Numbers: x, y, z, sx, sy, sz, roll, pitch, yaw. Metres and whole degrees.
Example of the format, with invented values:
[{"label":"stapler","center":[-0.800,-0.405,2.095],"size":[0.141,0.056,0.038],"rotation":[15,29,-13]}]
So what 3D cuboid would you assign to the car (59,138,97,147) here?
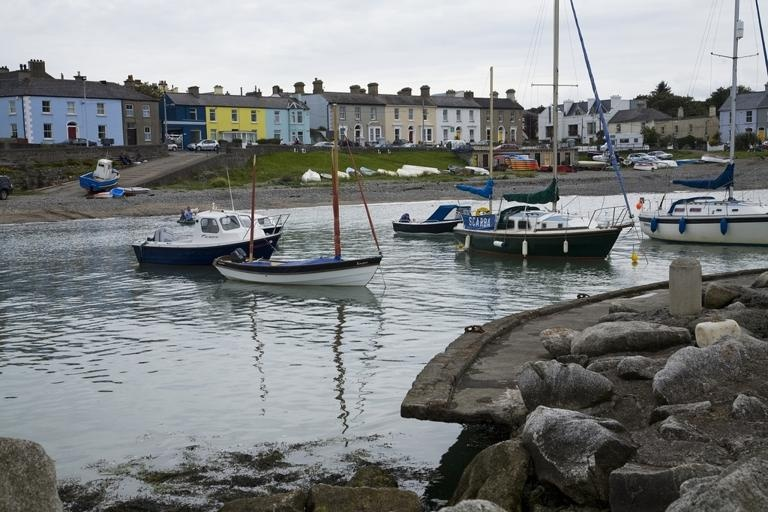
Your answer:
[{"label":"car","center":[-27.175,-10.003,80.620],"size":[2.507,0.701,1.686],"rotation":[-1,6,-6]}]

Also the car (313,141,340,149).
[{"label":"car","center":[-6.360,-11.770,97.502],"size":[1.781,0.744,7.412],"rotation":[-2,6,2]}]

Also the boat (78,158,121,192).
[{"label":"boat","center":[-19.739,-5.745,64.504],"size":[1.703,1.627,3.426],"rotation":[12,26,13]}]

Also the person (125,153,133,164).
[{"label":"person","center":[-21.701,-8.182,77.481],"size":[0.250,0.679,0.511],"rotation":[-18,-3,36]}]

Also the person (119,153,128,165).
[{"label":"person","center":[-22.016,-8.127,77.128],"size":[0.614,0.832,0.498],"rotation":[-3,7,-6]}]

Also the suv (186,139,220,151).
[{"label":"suv","center":[-17.558,-10.711,89.114],"size":[2.908,1.221,1.798],"rotation":[4,6,4]}]

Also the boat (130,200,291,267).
[{"label":"boat","center":[-6.801,-0.874,40.540],"size":[8.568,3.002,2.780],"rotation":[-1,11,6]}]
